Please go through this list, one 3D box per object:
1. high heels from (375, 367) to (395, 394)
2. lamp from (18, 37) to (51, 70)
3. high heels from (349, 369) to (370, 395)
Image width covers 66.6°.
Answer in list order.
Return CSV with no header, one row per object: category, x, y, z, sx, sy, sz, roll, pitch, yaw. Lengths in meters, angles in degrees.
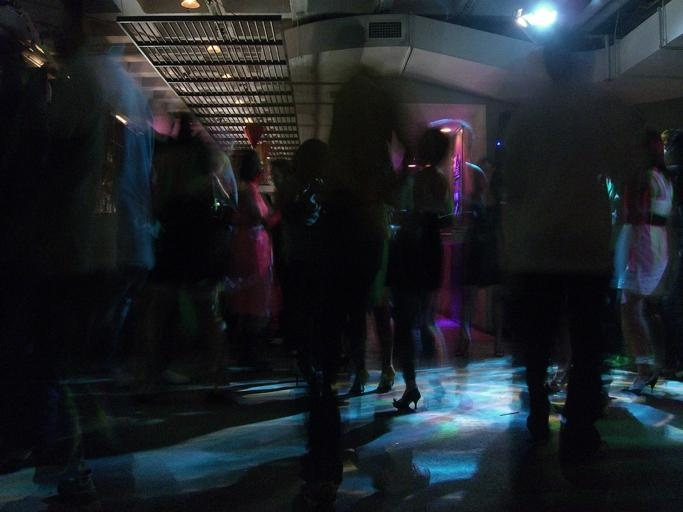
high heels,0.274,0.771,3.247,0.069,0.148,0.203,1,3,-3
lamp,-1.287,-0.842,2.161,0.048,0.090,0.126,-21,37,-13
high heels,0.106,0.752,3.106,0.077,0.101,0.234,3,-47,-1
